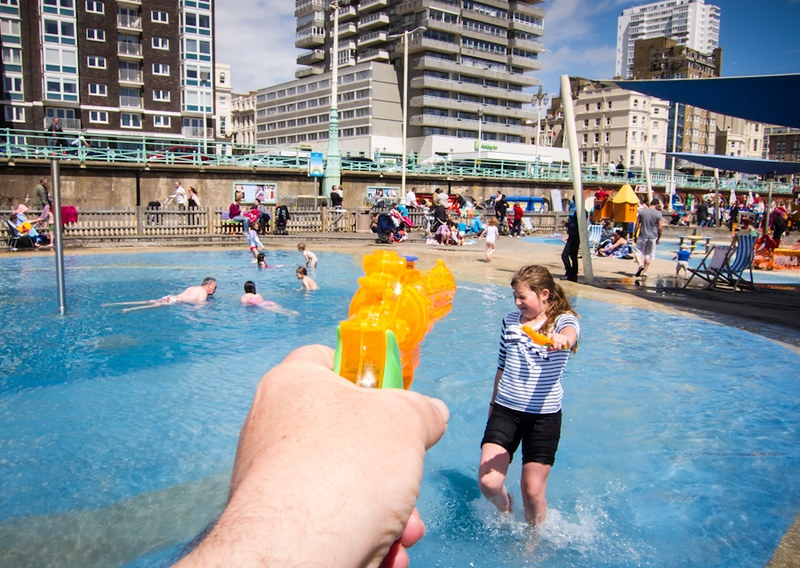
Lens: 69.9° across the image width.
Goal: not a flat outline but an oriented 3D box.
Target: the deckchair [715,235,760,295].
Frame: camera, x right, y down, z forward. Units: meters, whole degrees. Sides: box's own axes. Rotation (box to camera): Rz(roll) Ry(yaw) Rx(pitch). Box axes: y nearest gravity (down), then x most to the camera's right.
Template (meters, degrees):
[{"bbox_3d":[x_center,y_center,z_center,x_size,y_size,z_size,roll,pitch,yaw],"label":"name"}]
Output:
[{"bbox_3d":[8.717,-0.565,14.735,0.835,1.598,1.789,8,15,29],"label":"deckchair"}]

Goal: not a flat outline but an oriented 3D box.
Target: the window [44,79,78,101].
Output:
[{"bbox_3d":[-29.954,-17.052,50.239,1.874,1.674,0.663,4,5,-20],"label":"window"}]

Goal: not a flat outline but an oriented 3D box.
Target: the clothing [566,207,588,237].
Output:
[{"bbox_3d":[4.681,-1.775,15.263,0.242,0.970,0.527,-5,-11,2],"label":"clothing"}]

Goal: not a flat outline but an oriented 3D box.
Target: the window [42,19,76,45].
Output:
[{"bbox_3d":[-30.233,-22.120,50.600,1.984,1.953,2.003,-2,9,-28],"label":"window"}]

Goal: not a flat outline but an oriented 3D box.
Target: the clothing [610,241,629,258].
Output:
[{"bbox_3d":[8.376,-1.242,21.690,0.457,0.747,0.735,1,6,-22],"label":"clothing"}]

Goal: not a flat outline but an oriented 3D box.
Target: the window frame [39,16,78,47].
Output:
[{"bbox_3d":[-30.200,-22.101,50.632,2.047,2.121,2.005,5,1,-32],"label":"window frame"}]

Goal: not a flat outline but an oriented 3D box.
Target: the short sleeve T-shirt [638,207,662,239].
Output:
[{"bbox_3d":[6.911,-1.667,15.886,0.567,0.873,0.453,7,15,24],"label":"short sleeve T-shirt"}]

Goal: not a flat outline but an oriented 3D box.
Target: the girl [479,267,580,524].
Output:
[{"bbox_3d":[1.125,1.042,5.051,0.741,2.349,0.841,5,14,18],"label":"girl"}]

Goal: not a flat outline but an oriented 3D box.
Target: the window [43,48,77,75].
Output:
[{"bbox_3d":[-29.919,-19.418,49.977,2.388,2.078,0.256,-4,9,-29],"label":"window"}]

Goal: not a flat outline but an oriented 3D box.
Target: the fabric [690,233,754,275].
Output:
[{"bbox_3d":[8.355,-0.636,15.361,0.636,0.641,0.970,-1,-7,-10],"label":"fabric"}]

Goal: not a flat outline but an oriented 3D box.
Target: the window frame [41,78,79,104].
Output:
[{"bbox_3d":[-30.053,-16.963,50.228,2.219,2.021,0.828,1,8,-23],"label":"window frame"}]

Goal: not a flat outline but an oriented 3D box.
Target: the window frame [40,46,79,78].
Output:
[{"bbox_3d":[-29.943,-19.380,49.981,2.853,2.544,0.284,-1,3,-31],"label":"window frame"}]

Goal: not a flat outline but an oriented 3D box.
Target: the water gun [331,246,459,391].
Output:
[{"bbox_3d":[-0.042,0.232,3.549,0.544,0.820,1.317,3,13,8],"label":"water gun"}]
